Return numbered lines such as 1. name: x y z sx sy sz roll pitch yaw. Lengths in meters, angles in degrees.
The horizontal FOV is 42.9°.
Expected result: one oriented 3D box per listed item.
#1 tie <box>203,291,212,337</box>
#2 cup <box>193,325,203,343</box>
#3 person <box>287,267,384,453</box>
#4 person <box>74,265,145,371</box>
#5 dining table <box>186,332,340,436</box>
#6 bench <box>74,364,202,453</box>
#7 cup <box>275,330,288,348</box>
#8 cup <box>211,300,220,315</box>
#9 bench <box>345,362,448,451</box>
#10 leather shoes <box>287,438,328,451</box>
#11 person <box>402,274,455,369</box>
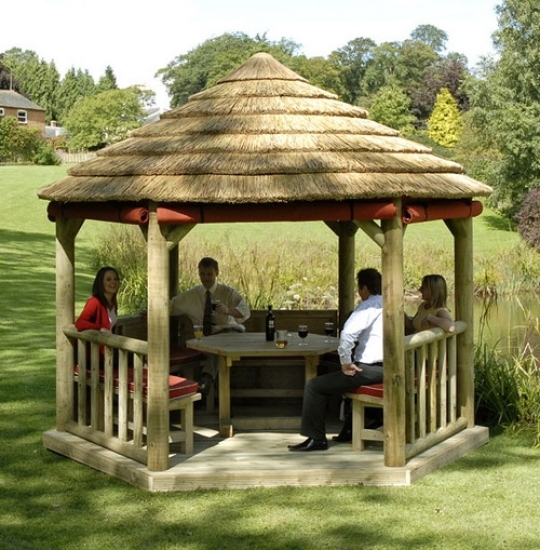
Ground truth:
1. tie: -0.718 0.439 7.922 0.100 0.489 0.232 -1 6 -2
2. cup: -0.756 0.631 7.561 0.133 0.189 0.133 0 -4 0
3. person: 0.629 0.773 6.279 0.831 1.620 0.459 -1 6 -5
4. person: -1.614 0.256 6.682 0.367 0.676 0.713 1 6 12
5. dining table: -0.298 1.006 7.401 0.847 1.215 1.437 1 6 -9
6. bench: -1.224 1.215 6.167 0.870 0.401 0.350 6 5 33
7. cup: 0.121 0.651 7.030 0.113 0.168 0.193 -1 6 -5
8. cup: -0.637 0.350 7.648 0.138 0.152 0.136 -1 -2 0
9. bench: 1.079 1.354 6.333 0.668 0.565 0.598 9 -13 2
10. leather shoes: 0.349 1.546 6.291 0.363 0.143 0.130 2 -6 -7
11. person: 1.580 0.303 6.703 0.362 0.626 0.804 1 6 10
